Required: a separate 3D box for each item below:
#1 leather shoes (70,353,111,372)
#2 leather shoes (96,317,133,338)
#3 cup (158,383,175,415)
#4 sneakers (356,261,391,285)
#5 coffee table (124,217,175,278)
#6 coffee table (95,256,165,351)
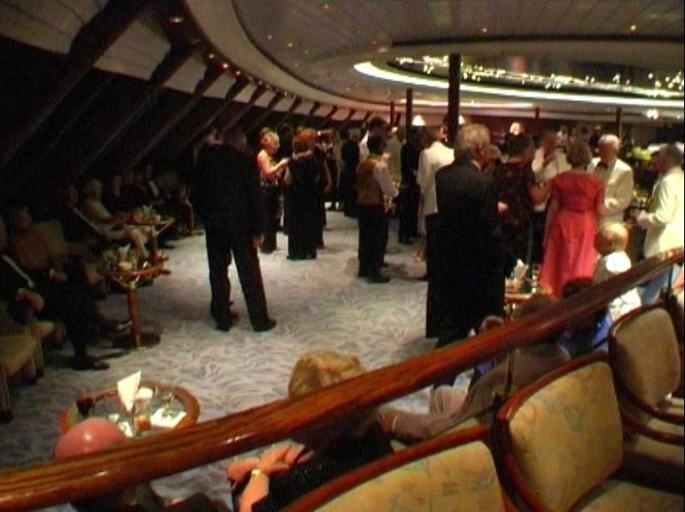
[{"bbox_3d":[-1.371,0.571,2.828,0.250,0.110,0.089,-1,13,-6],"label":"leather shoes"},{"bbox_3d":[-1.396,0.440,3.146,0.109,0.111,0.051,-20,48,-22],"label":"leather shoes"},{"bbox_3d":[-0.672,0.543,1.964,0.060,0.103,0.068,7,31,0],"label":"cup"},{"bbox_3d":[0.229,0.144,4.062,0.297,0.229,0.111,-8,27,-11],"label":"sneakers"},{"bbox_3d":[-1.229,-0.069,3.255,0.286,0.225,0.309,2,19,3],"label":"coffee table"},{"bbox_3d":[-1.193,0.258,3.088,0.411,0.497,0.473,3,16,-4],"label":"coffee table"}]
